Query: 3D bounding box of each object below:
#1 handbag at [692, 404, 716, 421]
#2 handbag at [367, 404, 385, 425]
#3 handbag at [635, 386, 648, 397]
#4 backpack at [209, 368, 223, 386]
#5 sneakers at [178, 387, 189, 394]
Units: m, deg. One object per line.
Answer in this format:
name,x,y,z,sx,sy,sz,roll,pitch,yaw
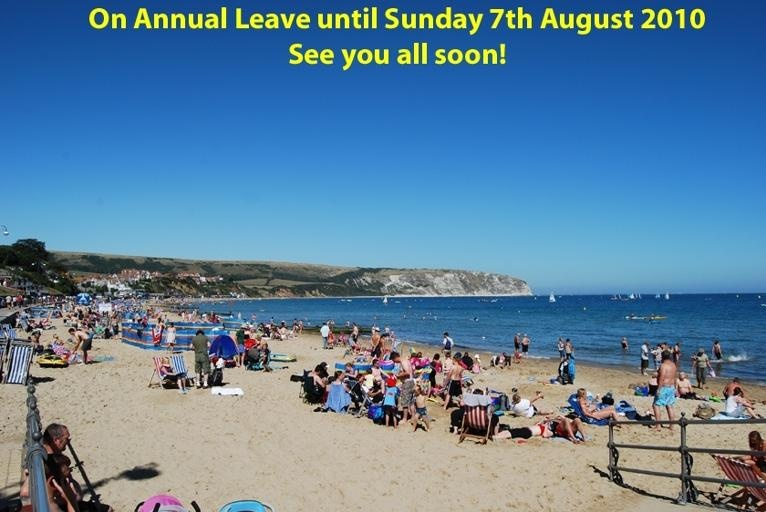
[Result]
handbag,10.253,4.943,18.342,0.582,0.275,0.737,-1,-3,26
handbag,-0.236,4.865,17.874,0.556,0.494,0.536,16,-15,17
handbag,10.021,5.223,22.371,0.479,0.341,0.683,1,-5,18
backpack,-6.165,4.463,21.316,0.498,0.573,0.598,3,2,-8
sneakers,-6.847,4.603,19.823,0.273,0.143,0.460,4,-5,-20
